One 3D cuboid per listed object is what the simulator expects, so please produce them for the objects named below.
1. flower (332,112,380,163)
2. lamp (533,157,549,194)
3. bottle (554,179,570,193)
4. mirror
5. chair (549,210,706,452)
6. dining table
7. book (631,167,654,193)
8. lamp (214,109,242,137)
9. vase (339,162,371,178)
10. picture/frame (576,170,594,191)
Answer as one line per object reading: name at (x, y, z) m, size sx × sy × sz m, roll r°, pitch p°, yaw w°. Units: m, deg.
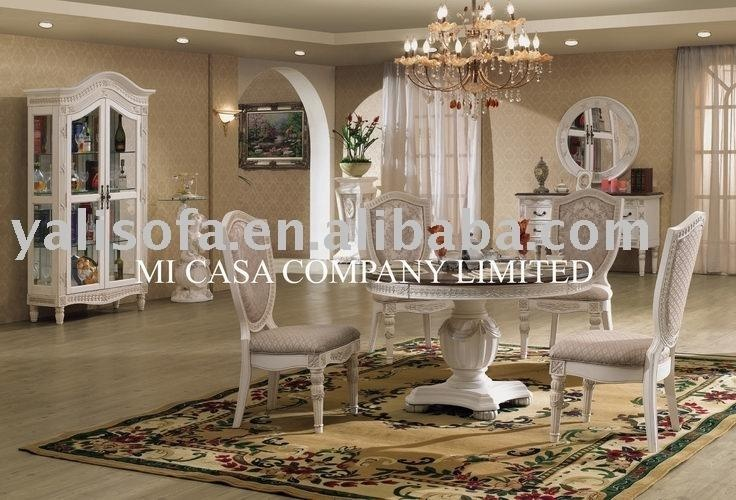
flower at (-0.183, -1.984, 9.908) m, size 0.827 × 0.797 × 0.783 m, roll 7°, pitch -3°, yaw -34°
lamp at (2.746, -1.210, 9.000) m, size 0.236 × 0.587 × 0.602 m, roll 1°, pitch 6°, yaw 16°
bottle at (3.071, -1.022, 8.974) m, size 0.273 × 0.208 × 0.257 m, roll -1°, pitch 7°, yaw 0°
mirror at (3.660, -1.766, 8.903) m, size 1.569 × 1.666 × 0.208 m, roll 1°, pitch 1°, yaw 15°
chair at (1.459, 0.462, 3.232) m, size 0.788 × 1.125 × 0.747 m, roll -1°, pitch -3°, yaw 26°
dining table at (0.724, 0.613, 3.845) m, size 1.609 × 0.925 × 1.554 m, roll -6°, pitch -1°, yaw -15°
book at (4.119, -1.072, 8.535) m, size 0.290 × 0.367 × 0.346 m, roll 1°, pitch 7°, yaw 22°
lamp at (-2.033, -1.851, 8.155) m, size 0.366 × 0.329 × 0.356 m, roll -1°, pitch 4°, yaw 9°
vase at (-0.210, -1.392, 9.663) m, size 0.498 × 0.279 × 0.356 m, roll 1°, pitch 6°, yaw 17°
picture/frame at (3.379, -1.123, 8.846) m, size 0.246 × 0.285 × 0.312 m, roll 1°, pitch 6°, yaw 20°
